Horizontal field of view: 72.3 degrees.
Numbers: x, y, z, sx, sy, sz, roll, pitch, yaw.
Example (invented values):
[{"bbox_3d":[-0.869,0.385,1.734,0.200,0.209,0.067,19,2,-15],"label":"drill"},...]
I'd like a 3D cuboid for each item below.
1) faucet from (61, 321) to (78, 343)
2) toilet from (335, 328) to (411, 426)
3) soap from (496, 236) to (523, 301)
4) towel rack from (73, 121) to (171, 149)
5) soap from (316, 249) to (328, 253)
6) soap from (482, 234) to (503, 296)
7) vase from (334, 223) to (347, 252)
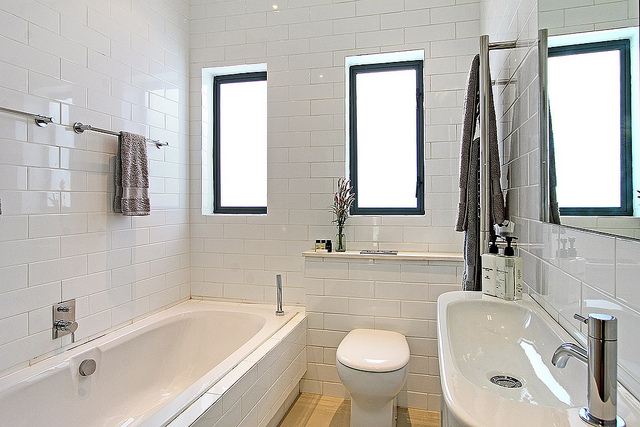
[{"bbox_3d":[-1.616,0.768,2.833,0.044,0.161,0.103,1,5,13],"label":"faucet"},{"bbox_3d":[0.360,1.121,3.093,0.514,0.521,0.623,0,1,11],"label":"toilet"},{"bbox_3d":[1.018,0.288,2.374,0.138,0.336,0.145,0,0,12],"label":"soap"},{"bbox_3d":[-1.409,-0.566,3.214,0.128,0.127,0.784,1,4,23],"label":"towel rack"},{"bbox_3d":[0.018,0.294,3.459,0.090,0.018,0.086,0,3,3],"label":"soap"},{"bbox_3d":[0.975,0.287,2.470,0.110,0.282,0.105,10,6,34],"label":"soap"},{"bbox_3d":[0.169,0.188,3.522,0.102,0.229,0.146,0,4,3],"label":"vase"}]
